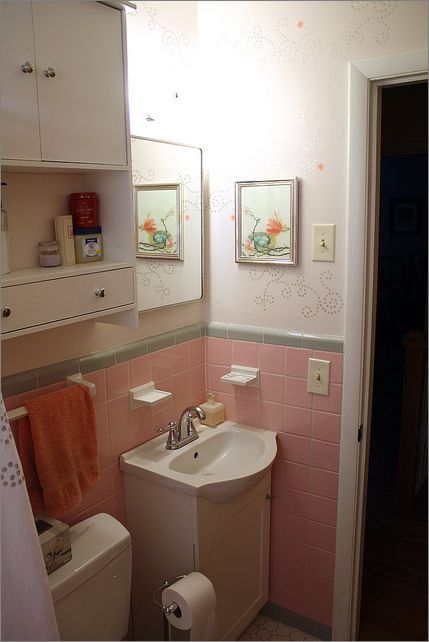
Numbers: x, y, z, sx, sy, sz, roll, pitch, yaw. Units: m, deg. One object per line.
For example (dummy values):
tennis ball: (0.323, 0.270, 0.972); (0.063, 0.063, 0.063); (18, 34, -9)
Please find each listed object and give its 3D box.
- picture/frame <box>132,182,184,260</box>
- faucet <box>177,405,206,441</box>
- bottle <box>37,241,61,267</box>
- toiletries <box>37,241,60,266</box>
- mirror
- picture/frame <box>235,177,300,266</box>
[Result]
picture/frame: (-0.197, -0.349, 1.554); (0.013, 0.312, 0.262); (12, 18, 35)
faucet: (-0.088, 0.375, 1.679); (0.108, 0.140, 0.089); (13, 22, 31)
bottle: (-0.391, -0.162, 1.083); (0.045, 0.060, 0.057); (9, 14, 34)
toiletries: (-0.391, -0.162, 1.084); (0.044, 0.061, 0.059); (2, 12, 2)
mirror: (-0.170, -0.359, 1.587); (0.041, 0.686, 0.528); (4, 11, 27)
picture/frame: (0.197, -0.368, 1.635); (0.262, 0.352, 0.022); (8, 14, 36)
